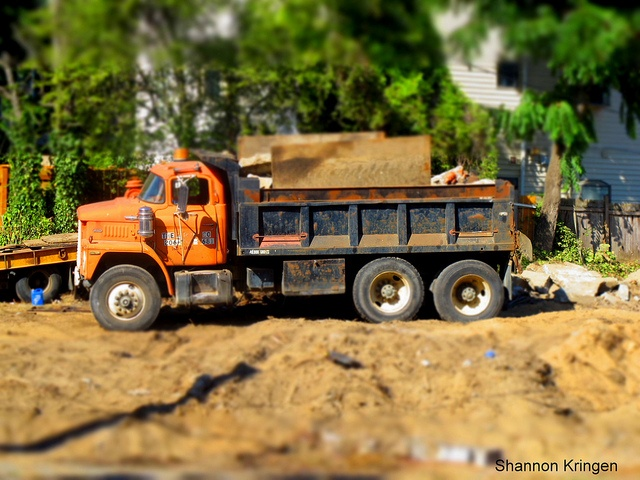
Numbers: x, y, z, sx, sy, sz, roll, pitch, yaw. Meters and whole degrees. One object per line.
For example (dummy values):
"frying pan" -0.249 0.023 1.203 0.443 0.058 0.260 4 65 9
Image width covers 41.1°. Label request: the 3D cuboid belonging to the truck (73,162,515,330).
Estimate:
"truck" -0.171 0.031 13.426 5.255 2.695 2.984 0 2 -7
